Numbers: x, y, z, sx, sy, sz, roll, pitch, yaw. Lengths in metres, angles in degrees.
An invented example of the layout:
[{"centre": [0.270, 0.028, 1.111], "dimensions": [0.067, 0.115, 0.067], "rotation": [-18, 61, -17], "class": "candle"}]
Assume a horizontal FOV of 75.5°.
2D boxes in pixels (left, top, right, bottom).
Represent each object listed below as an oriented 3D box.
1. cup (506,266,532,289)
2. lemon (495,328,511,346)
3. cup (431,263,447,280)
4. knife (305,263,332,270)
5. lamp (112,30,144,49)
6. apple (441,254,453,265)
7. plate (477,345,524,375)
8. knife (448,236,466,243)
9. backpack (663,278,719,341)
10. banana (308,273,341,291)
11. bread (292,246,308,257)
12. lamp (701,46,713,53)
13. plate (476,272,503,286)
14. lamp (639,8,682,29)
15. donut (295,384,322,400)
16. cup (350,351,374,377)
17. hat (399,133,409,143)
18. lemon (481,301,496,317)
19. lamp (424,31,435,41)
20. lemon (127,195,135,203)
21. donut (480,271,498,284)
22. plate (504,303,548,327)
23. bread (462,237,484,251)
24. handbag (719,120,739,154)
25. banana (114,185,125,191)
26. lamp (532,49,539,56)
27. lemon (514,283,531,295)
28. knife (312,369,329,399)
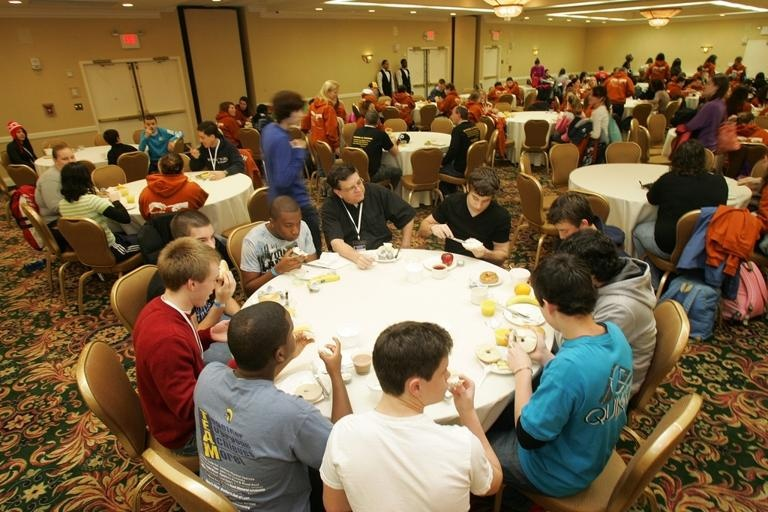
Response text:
[{"centre": [0.967, 0.153, 3.583], "dimensions": [0.125, 0.101, 0.131], "rotation": [-1, 18, 0], "class": "cup"}, {"centre": [0.758, 0.504, 3.142], "dimensions": [0.089, 0.072, 0.092], "rotation": [9, 27, 28], "class": "lemon"}, {"centre": [0.416, 0.115, 3.708], "dimensions": [0.106, 0.062, 0.134], "rotation": [-2, 22, 7], "class": "cup"}, {"centre": [-0.489, 0.082, 3.832], "dimensions": [0.106, 0.012, 0.031], "rotation": [9, 52, 16], "class": "knife"}, {"centre": [-4.831, -4.144, 9.397], "dimensions": [0.498, 0.361, 0.114], "rotation": [-11, 17, -37], "class": "lamp"}, {"centre": [0.489, 0.015, 3.811], "dimensions": [0.081, 0.084, 0.084], "rotation": [8, 18, 24], "class": "apple"}, {"centre": [0.668, 0.633, 3.042], "dimensions": [0.200, 0.110, 0.183], "rotation": [-2, 22, 5], "class": "plate"}, {"centre": [0.628, -0.144, 4.202], "dimensions": [0.050, 0.033, 0.239], "rotation": [15, 3, 32], "class": "knife"}, {"centre": [2.734, 0.478, 4.512], "dimensions": [0.274, 0.493, 0.566], "rotation": [-3, 16, -11], "class": "backpack"}, {"centre": [-0.445, 0.177, 3.658], "dimensions": [0.160, 0.058, 0.281], "rotation": [17, 30, 42], "class": "banana"}, {"centre": [-0.628, -0.032, 3.751], "dimensions": [0.099, 0.071, 0.130], "rotation": [-9, 22, -13], "class": "bread"}, {"centre": [12.112, -7.824, 18.687], "dimensions": [0.328, 0.250, 0.160], "rotation": [6, 24, 25], "class": "lamp"}, {"centre": [0.760, 0.169, 3.589], "dimensions": [0.185, 0.068, 0.139], "rotation": [-21, 27, -36], "class": "plate"}, {"centre": [6.797, -5.998, 12.350], "dimensions": [0.750, 0.383, 1.025], "rotation": [3, 23, 19], "class": "lamp"}, {"centre": [-0.429, 0.812, 2.919], "dimensions": [0.162, 0.058, 0.109], "rotation": [-4, 22, 1], "class": "donut"}, {"centre": [-0.128, 0.666, 3.031], "dimensions": [0.111, 0.095, 0.105], "rotation": [-4, 21, 1], "class": "cup"}, {"centre": [0.309, -1.747, 7.301], "dimensions": [0.115, 0.137, 0.205], "rotation": [0, 5, 10], "class": "hat"}, {"centre": [0.703, 0.352, 3.325], "dimensions": [0.093, 0.092, 0.094], "rotation": [1, 22, 13], "class": "lemon"}, {"centre": [1.342, -6.472, 14.465], "dimensions": [0.264, 0.290, 0.173], "rotation": [-1, 9, -1], "class": "lamp"}, {"centre": [-2.708, -0.623, 5.388], "dimensions": [0.074, 0.078, 0.077], "rotation": [13, 24, 23], "class": "lemon"}, {"centre": [0.758, 0.159, 3.572], "dimensions": [0.088, 0.029, 0.084], "rotation": [8, 25, 29], "class": "donut"}, {"centre": [0.922, 0.402, 3.277], "dimensions": [0.247, 0.084, 0.240], "rotation": [-6, 22, -4], "class": "plate"}, {"centre": [0.698, -0.100, 3.875], "dimensions": [0.141, 0.090, 0.196], "rotation": [-2, 22, 7], "class": "bread"}, {"centre": [4.323, -1.503, 6.260], "dimensions": [0.126, 0.420, 0.251], "rotation": [18, -17, -34], "class": "handbag"}, {"centre": [-3.004, -0.785, 5.699], "dimensions": [0.091, 0.024, 0.094], "rotation": [0, 18, -3], "class": "banana"}, {"centre": [5.923, -8.009, 19.384], "dimensions": [0.071, 0.324, 0.305], "rotation": [6, 3, 45], "class": "lamp"}, {"centre": [0.959, 0.235, 3.436], "dimensions": [0.079, 0.085, 0.082], "rotation": [-4, 4, -43], "class": "lemon"}, {"centre": [-0.354, 0.765, 2.938], "dimensions": [0.049, 0.040, 0.219], "rotation": [-19, 33, 2], "class": "knife"}]
